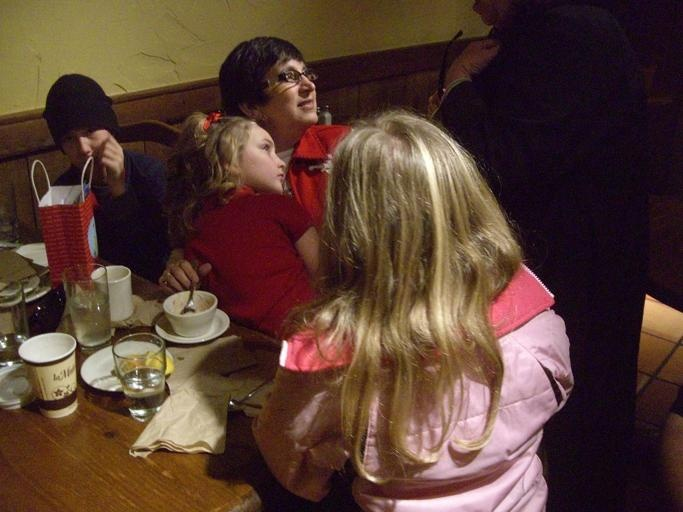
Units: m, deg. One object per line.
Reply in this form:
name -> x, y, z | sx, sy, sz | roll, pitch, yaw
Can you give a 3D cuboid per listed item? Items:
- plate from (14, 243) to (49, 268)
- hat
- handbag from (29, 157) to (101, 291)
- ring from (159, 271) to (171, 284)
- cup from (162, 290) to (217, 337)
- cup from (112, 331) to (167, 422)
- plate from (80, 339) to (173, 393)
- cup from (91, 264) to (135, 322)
plate -> -1.098, -0.007, 2.160 | 0.092, 0.111, 0.118 | -7, 28, -35
hat -> -1.001, -0.536, 2.315 | 0.212, 0.236, 0.254 | -37, 20, -27
handbag -> -0.918, -0.111, 2.019 | 0.171, 0.432, 0.287 | -4, 27, -9
ring -> -0.582, 0.075, 2.014 | 0.029, 0.015, 0.043 | 0, 64, 25
cup -> -0.456, 0.165, 1.831 | 0.127, 0.089, 0.137 | 1, 19, 0
cup -> -0.528, 0.326, 1.594 | 0.128, 0.232, 0.147 | -3, 26, -4
plate -> -0.631, 0.301, 1.698 | 0.142, 0.023, 0.151 | -6, 29, -19
cup -> -0.681, 0.113, 1.882 | 0.101, 0.158, 0.171 | -5, 21, -13
